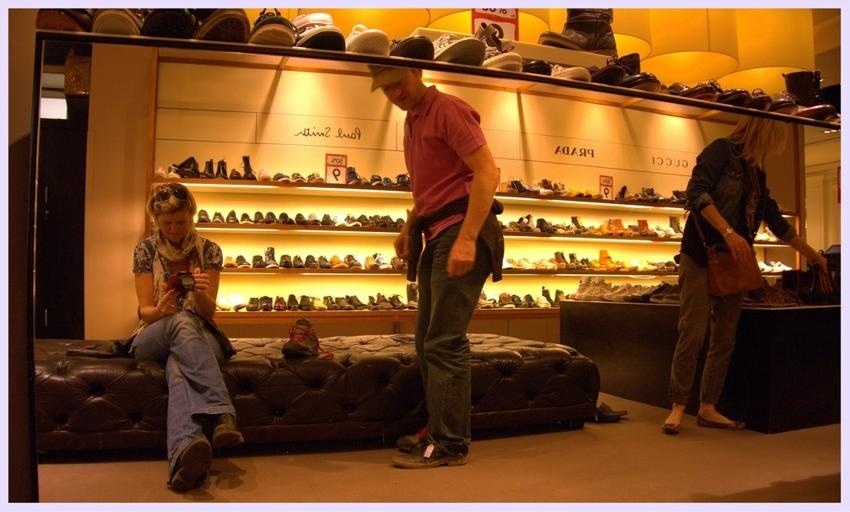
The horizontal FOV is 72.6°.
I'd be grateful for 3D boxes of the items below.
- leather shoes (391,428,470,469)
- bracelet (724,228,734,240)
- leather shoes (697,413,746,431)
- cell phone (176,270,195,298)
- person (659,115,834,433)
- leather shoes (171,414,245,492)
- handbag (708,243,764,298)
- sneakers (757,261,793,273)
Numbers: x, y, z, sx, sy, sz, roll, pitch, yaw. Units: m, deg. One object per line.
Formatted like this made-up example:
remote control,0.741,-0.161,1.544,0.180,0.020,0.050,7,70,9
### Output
leather shoes,0.055,1.104,3.281,0.466,0.173,0.162,5,-7,-11
bracelet,1.936,-0.141,3.703,0.040,0.052,0.056,-9,38,2
leather shoes,1.973,1.108,3.864,0.293,0.071,0.097,-4,-7,14
cell phone,-1.359,0.149,3.256,0.099,0.107,0.053,3,6,25
person,2.047,0.114,3.894,1.074,2.078,0.538,-5,7,-44
leather shoes,-1.128,0.996,3.034,0.180,0.482,0.250,43,-30,-25
handbag,2.038,0.099,3.805,0.431,0.337,0.168,-4,0,-7
sneakers,2.643,0.086,4.345,0.216,0.069,0.253,1,-2,-3
